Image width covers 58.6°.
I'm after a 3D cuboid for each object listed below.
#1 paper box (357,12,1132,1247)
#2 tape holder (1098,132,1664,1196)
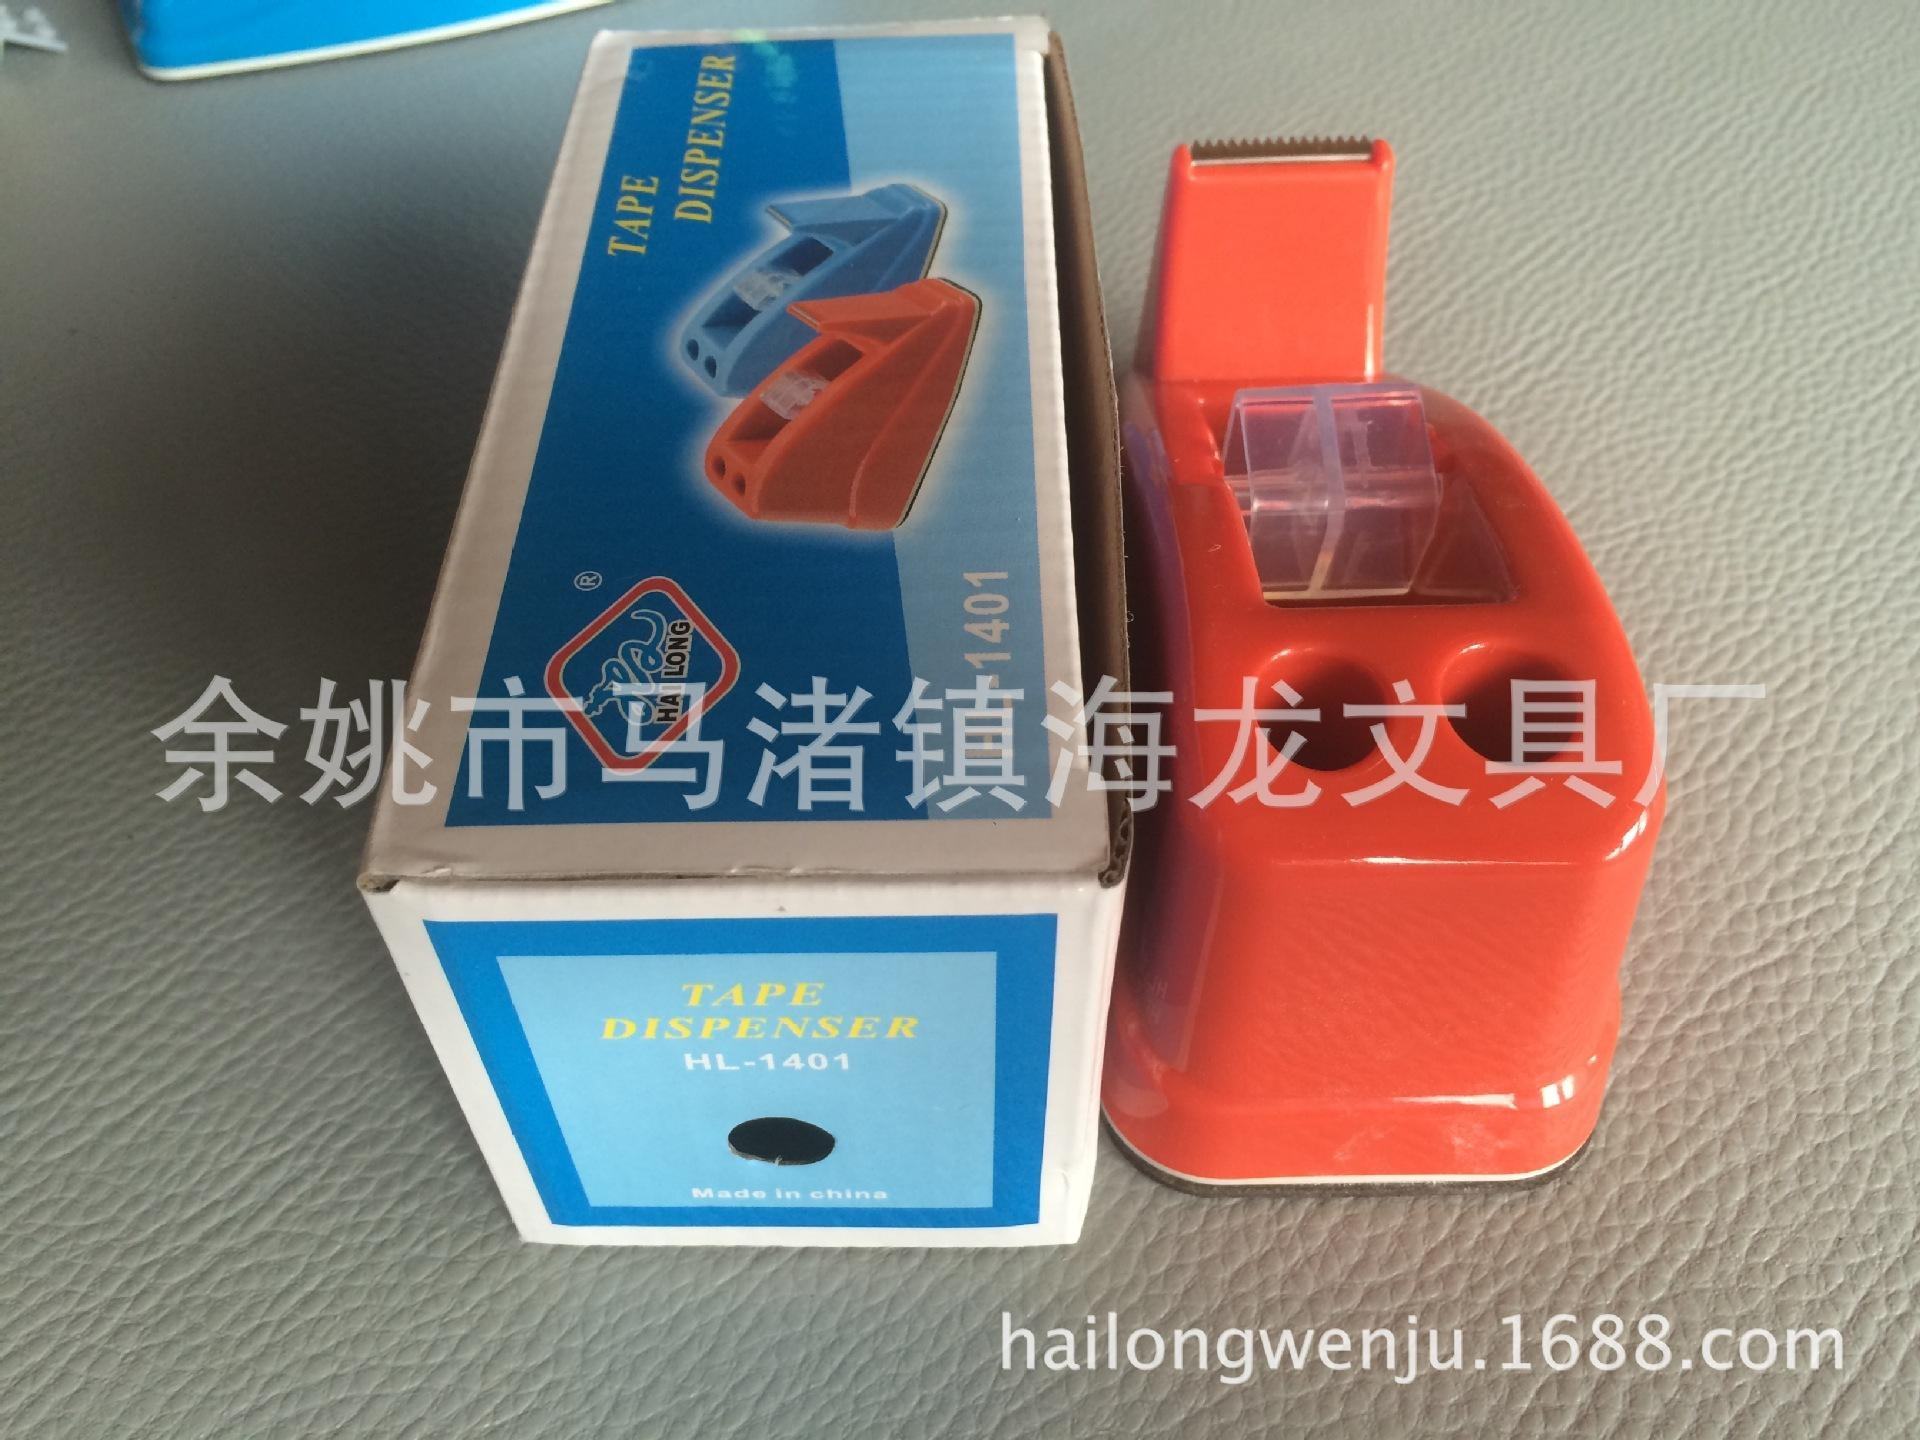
[{"bbox_3d":[-0.070,-0.012,0.678,0.210,0.186,0.380,0,42,-3],"label":"paper box"},{"bbox_3d":[0.131,-0.040,0.694,0.216,0.296,0.394,1,55,5],"label":"tape holder"}]
